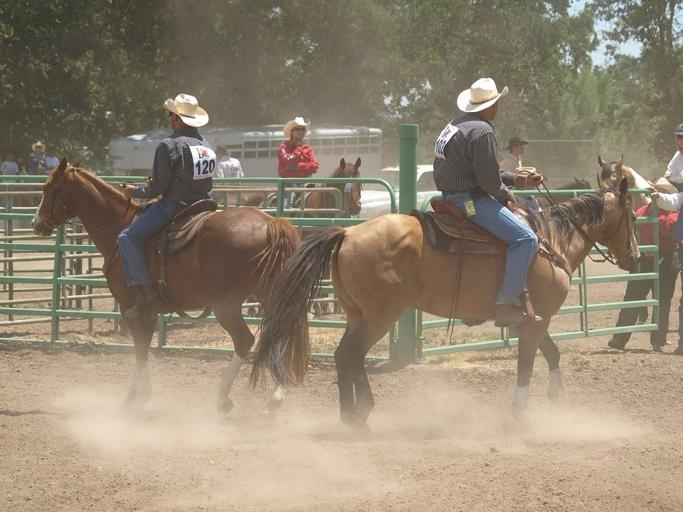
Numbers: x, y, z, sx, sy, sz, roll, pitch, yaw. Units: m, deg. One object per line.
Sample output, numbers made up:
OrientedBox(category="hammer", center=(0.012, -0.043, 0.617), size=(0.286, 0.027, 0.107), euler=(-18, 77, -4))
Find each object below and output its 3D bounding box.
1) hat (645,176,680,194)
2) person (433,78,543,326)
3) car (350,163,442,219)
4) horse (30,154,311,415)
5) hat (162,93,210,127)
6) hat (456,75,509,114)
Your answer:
OrientedBox(category="hat", center=(5.353, -1.195, 16.759), size=(0.403, 0.147, 0.328), euler=(13, -6, 32))
OrientedBox(category="person", center=(1.914, -0.692, 13.173), size=(1.398, 3.243, 0.598), euler=(1, 5, 5))
OrientedBox(category="car", center=(1.188, -1.670, 25.695), size=(1.311, 1.227, 2.429), euler=(0, 0, 33))
OrientedBox(category="horse", center=(-2.355, 0.445, 14.361), size=(4.864, 3.471, 1.501), euler=(4, 5, 25))
OrientedBox(category="hat", center=(-2.158, -2.016, 13.864), size=(0.464, 0.236, 0.559), euler=(3, 36, -39))
OrientedBox(category="hat", center=(1.922, -2.070, 13.311), size=(0.572, 0.214, 0.497), euler=(-39, 37, -29))
